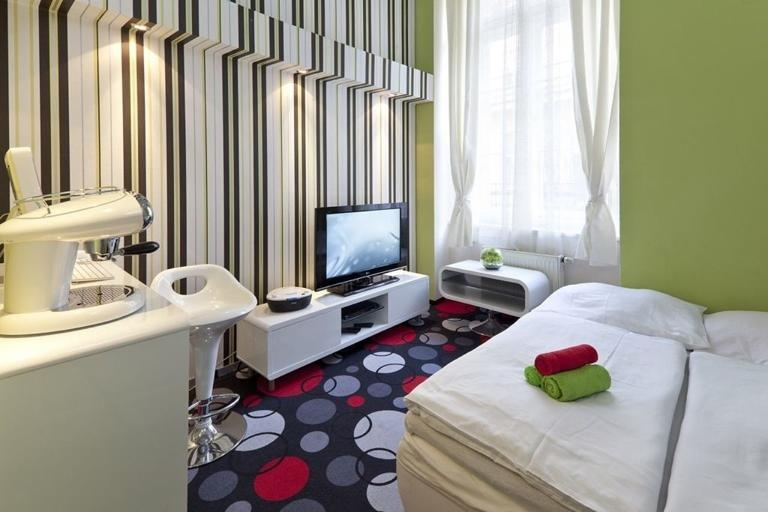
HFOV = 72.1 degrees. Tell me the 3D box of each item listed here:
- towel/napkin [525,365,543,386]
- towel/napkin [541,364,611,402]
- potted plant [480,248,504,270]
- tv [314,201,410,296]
[{"bbox_3d":[0.777,0.622,2.741,0.078,0.036,0.090,7,0,-1],"label":"towel/napkin"},{"bbox_3d":[1.103,0.668,2.719,0.266,0.124,0.354,15,-27,-32],"label":"towel/napkin"},{"bbox_3d":[0.958,0.021,4.712,0.185,0.178,0.190,0,1,43],"label":"potted plant"},{"bbox_3d":[-0.203,-0.094,4.583,0.253,0.734,1.105,11,16,44],"label":"tv"}]
